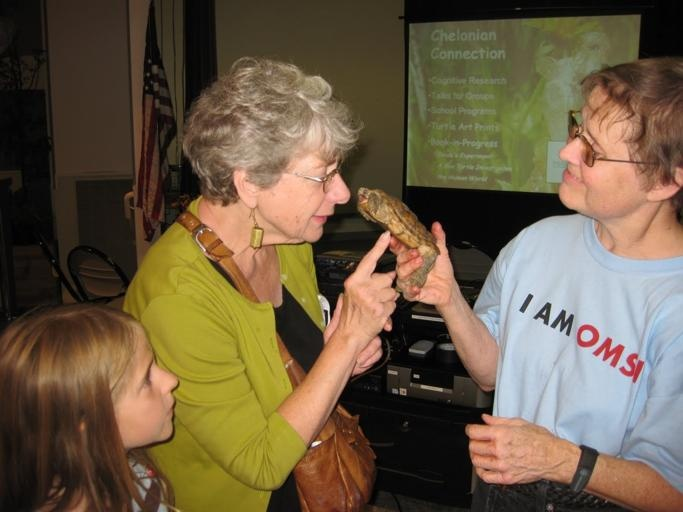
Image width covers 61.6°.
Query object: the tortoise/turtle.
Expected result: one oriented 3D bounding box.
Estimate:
[{"bbox_3d":[0.209,-0.156,2.340,0.217,0.479,0.445,6,12,33],"label":"tortoise/turtle"}]
